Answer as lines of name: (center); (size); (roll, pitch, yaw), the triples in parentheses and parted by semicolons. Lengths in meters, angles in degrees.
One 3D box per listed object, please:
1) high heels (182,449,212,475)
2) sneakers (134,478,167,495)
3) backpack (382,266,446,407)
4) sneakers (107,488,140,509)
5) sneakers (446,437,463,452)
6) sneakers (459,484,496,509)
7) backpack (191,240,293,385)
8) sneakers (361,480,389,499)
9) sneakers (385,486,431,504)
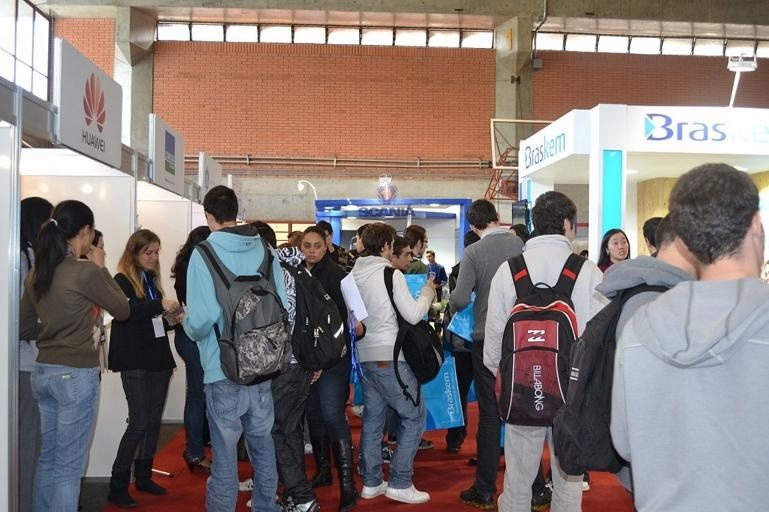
high heels: (-1.575, 1.746, 6.725); (0.363, 0.186, 0.122); (5, -3, -14)
sneakers: (-1.864, 1.843, 6.408); (0.287, 0.121, 0.107); (8, 0, 8)
backpack: (0.216, 0.617, 6.137); (0.462, 1.044, 0.264); (1, 1, 1)
sneakers: (-2.015, 1.871, 6.170); (0.231, 0.103, 0.109); (1, -5, 20)
sneakers: (0.635, 1.716, 7.238); (0.131, 0.138, 0.091); (-3, 1, 16)
sneakers: (0.717, 1.829, 6.147); (0.265, 0.135, 0.123); (9, 10, 43)
backpack: (-0.966, 0.381, 5.405); (0.619, 0.944, 0.269); (1, 1, -16)
sneakers: (-0.074, 1.816, 6.250); (0.084, 0.103, 0.242); (2, 3, 40)
sneakers: (0.177, 1.838, 6.196); (0.338, 0.162, 0.132); (2, -3, -1)
